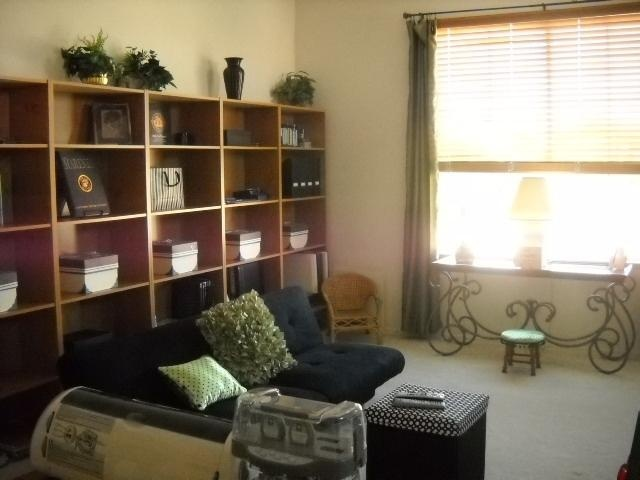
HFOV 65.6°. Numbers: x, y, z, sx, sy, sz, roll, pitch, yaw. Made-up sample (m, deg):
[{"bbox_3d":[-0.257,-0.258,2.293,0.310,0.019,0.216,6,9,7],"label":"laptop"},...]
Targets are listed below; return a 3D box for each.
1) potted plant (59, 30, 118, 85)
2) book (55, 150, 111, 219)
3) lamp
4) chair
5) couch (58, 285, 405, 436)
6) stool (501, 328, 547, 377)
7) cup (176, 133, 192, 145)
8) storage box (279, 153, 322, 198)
[{"bbox_3d":[-1.637,-1.312,3.709,0.362,0.424,0.409,-1,11,-1],"label":"potted plant"},{"bbox_3d":[-1.710,-0.407,3.594,0.155,0.475,0.305,4,12,27],"label":"book"},{"bbox_3d":[2.042,-0.188,4.827,0.341,0.843,0.634,3,11,24],"label":"lamp"},{"bbox_3d":[0.340,0.698,5.459,0.764,0.952,0.683,-1,-5,-5],"label":"chair"},{"bbox_3d":[-0.398,0.842,3.298,1.003,0.714,2.142,8,14,40],"label":"couch"},{"bbox_3d":[1.882,0.989,4.616,0.415,0.392,0.436,0,1,22],"label":"stool"},{"bbox_3d":[-1.178,-0.874,4.314,0.107,0.102,0.109,0,7,0],"label":"cup"},{"bbox_3d":[-0.218,-0.680,5.363,0.269,0.446,0.508,2,6,31],"label":"storage box"}]
